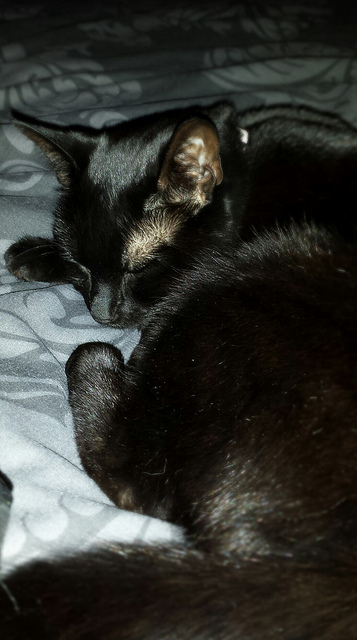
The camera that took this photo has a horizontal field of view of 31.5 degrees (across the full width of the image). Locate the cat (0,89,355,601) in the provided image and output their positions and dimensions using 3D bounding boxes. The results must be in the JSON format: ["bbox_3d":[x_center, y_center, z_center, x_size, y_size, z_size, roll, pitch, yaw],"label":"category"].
[{"bbox_3d":[-0.013,0.029,0.998,0.595,0.657,0.499,3,32,0],"label":"cat"}]
